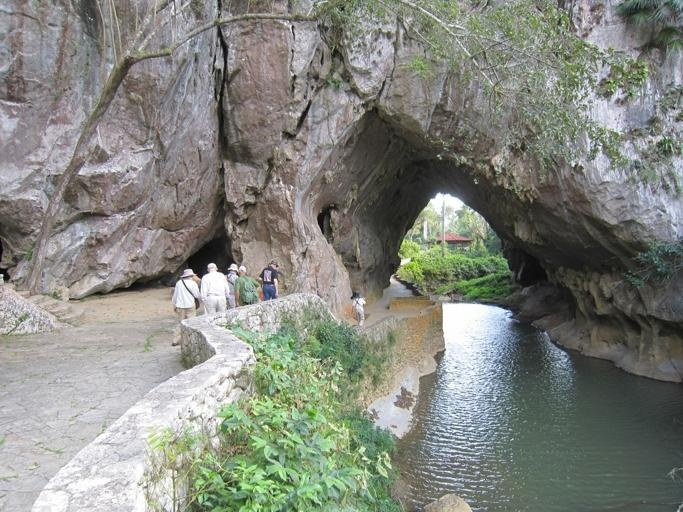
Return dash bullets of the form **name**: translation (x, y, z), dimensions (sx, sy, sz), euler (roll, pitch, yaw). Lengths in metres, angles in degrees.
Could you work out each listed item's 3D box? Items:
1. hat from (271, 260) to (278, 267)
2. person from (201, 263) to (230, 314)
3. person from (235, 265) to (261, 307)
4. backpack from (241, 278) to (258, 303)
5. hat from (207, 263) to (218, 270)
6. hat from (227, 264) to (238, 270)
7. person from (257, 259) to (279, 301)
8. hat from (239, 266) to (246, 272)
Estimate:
- **hat**: translation (-1.925, 0.194, 14.220), dimensions (0.154, 0.234, 0.217), euler (2, -7, -15)
- **person**: translation (-2.850, 0.732, 11.002), dimensions (0.611, 1.149, 1.049), euler (-4, 10, -16)
- **person**: translation (-2.347, 0.846, 12.500), dimensions (0.607, 1.642, 0.475), euler (-8, 43, -7)
- **backpack**: translation (-2.299, 0.865, 12.181), dimensions (0.477, 0.661, 0.329), euler (2, -8, -40)
- **hat**: translation (-3.517, 0.278, 13.377), dimensions (0.194, 0.275, 0.249), euler (2, 19, -3)
- **hat**: translation (-3.402, 0.325, 15.373), dimensions (0.229, 0.100, 0.251), euler (0, 2, 7)
- **person**: translation (-2.014, 0.878, 13.864), dimensions (0.502, 1.629, 0.429), euler (11, 16, 16)
- **hat**: translation (-2.552, 0.331, 12.717), dimensions (0.212, 0.135, 0.327), euler (1, 0, -16)
